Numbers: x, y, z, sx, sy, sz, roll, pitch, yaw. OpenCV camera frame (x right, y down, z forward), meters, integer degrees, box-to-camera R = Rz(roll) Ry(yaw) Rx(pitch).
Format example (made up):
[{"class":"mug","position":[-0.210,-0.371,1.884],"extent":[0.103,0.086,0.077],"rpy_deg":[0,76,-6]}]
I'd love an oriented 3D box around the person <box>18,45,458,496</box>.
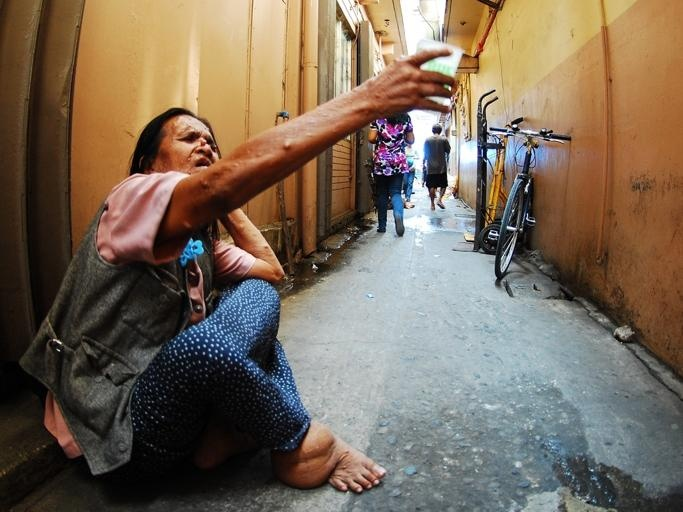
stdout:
[{"class":"person","position":[-0.383,0.088,1.830],"extent":[1.382,1.513,0.879],"rpy_deg":[9,8,18]}]

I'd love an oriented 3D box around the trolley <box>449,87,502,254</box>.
[{"class":"trolley","position":[1.548,-1.076,5.312],"extent":[0.346,1.426,0.312],"rpy_deg":[2,36,21]}]

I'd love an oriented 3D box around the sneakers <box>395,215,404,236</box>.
[{"class":"sneakers","position":[0.768,-0.375,6.185],"extent":[0.093,0.281,0.112],"rpy_deg":[-3,-12,-2]}]
